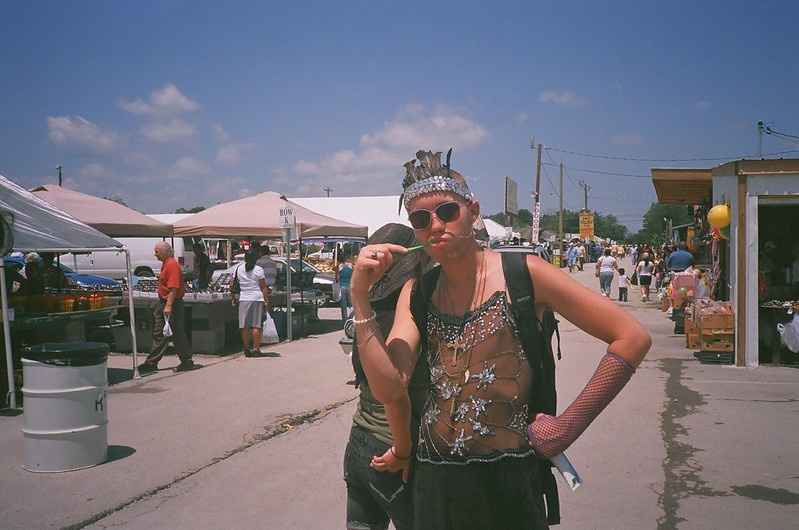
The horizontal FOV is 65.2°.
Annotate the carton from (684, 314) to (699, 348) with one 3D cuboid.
[{"bbox_3d":[6.000,1.392,12.824,0.204,0.637,0.535,1,10,14],"label":"carton"}]

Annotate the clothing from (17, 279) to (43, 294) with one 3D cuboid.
[{"bbox_3d":[-6.770,0.349,11.471,0.399,0.201,0.743,-7,11,-31],"label":"clothing"}]

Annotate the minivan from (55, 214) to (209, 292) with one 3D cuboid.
[{"bbox_3d":[-12.021,-0.334,26.501,6.825,3.427,3.890,1,1,-2],"label":"minivan"}]

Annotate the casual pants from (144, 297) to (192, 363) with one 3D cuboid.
[{"bbox_3d":[-4.431,1.254,11.822,0.810,1.270,0.544,-6,11,-24],"label":"casual pants"}]

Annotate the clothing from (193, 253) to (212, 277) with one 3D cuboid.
[{"bbox_3d":[-6.228,0.004,19.714,0.478,0.860,0.901,-1,2,3],"label":"clothing"}]

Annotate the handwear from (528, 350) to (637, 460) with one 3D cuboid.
[{"bbox_3d":[1.346,0.988,4.357,0.298,0.234,0.966,-11,-33,-54],"label":"handwear"}]

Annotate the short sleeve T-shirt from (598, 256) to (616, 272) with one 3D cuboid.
[{"bbox_3d":[6.903,-0.053,20.765,0.494,0.473,0.276,3,-7,40],"label":"short sleeve T-shirt"}]

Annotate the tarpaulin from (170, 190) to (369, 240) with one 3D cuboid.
[{"bbox_3d":[-3.522,-1.271,16.803,5.142,1.350,4.532,-1,0,-26],"label":"tarpaulin"}]

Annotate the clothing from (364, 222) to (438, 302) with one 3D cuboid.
[{"bbox_3d":[-0.024,-0.031,5.050,0.202,0.623,0.569,27,4,-15],"label":"clothing"}]
